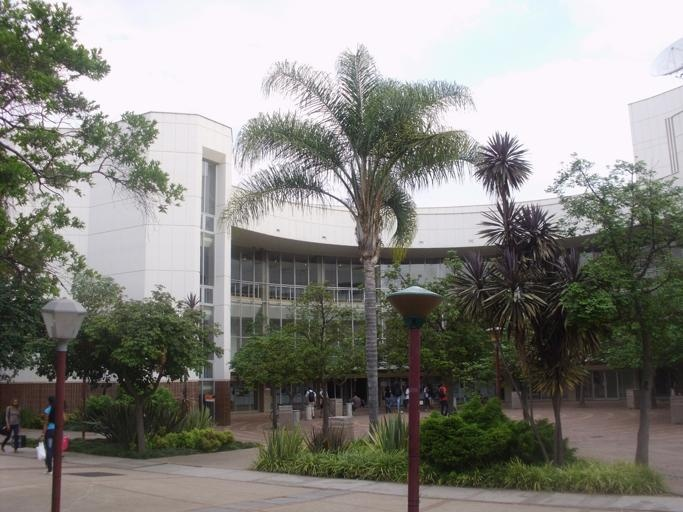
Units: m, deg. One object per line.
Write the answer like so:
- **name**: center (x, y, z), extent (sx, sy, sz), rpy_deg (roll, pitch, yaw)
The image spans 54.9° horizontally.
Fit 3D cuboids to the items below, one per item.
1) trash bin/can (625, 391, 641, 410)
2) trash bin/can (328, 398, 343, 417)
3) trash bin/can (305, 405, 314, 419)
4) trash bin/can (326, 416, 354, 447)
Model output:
- **trash bin/can**: center (18.105, 8.882, 40.838), extent (0.849, 1.768, 0.931), rpy_deg (-2, -10, 14)
- **trash bin/can**: center (-0.254, 9.302, 40.293), extent (0.748, 1.212, 0.769), rpy_deg (3, -8, -29)
- **trash bin/can**: center (-1.928, 9.442, 39.697), extent (0.603, 1.042, 0.619), rpy_deg (-7, -10, 41)
- **trash bin/can**: center (-0.060, 5.591, 20.500), extent (0.629, 0.945, 1.006), rpy_deg (-2, -7, 13)
